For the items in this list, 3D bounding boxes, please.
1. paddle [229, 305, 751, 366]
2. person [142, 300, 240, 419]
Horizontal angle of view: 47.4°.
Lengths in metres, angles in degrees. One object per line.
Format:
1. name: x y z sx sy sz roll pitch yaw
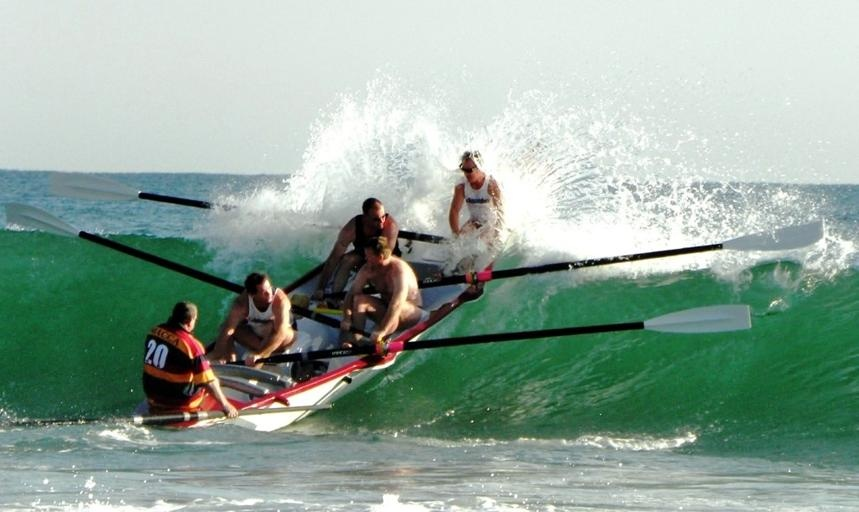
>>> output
1. paddle: 0.896 1.271 15.332 5.095 0.328 0.351 -7 70 4
2. person: -3.527 1.498 13.820 1.013 1.403 0.983 -9 37 -22
